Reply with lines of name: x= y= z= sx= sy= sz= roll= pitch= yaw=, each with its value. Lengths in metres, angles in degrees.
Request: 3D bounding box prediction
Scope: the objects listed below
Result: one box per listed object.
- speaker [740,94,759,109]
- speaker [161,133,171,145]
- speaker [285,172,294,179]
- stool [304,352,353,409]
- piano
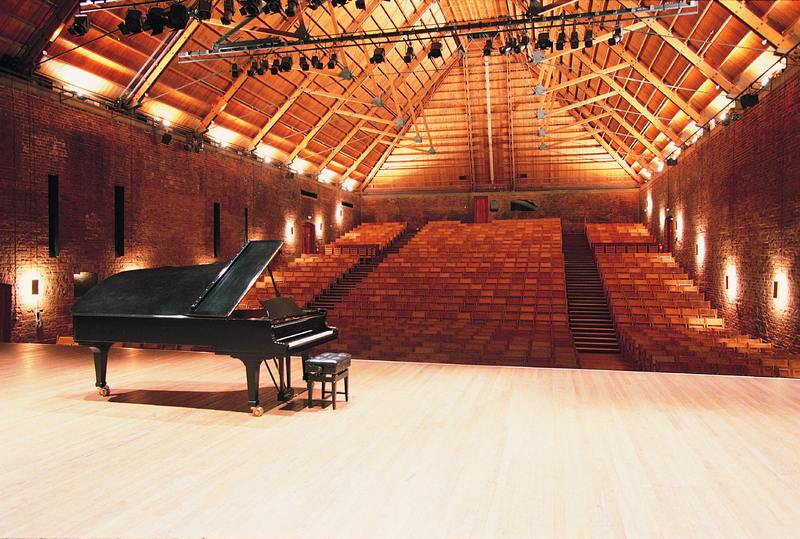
speaker: x=7.396 y=-3.630 z=11.411 sx=0.292 sy=0.291 sz=0.452 roll=2 pitch=11 yaw=17
speaker: x=-6.255 y=-3.558 z=14.501 sx=0.256 sy=0.241 sz=0.433 roll=10 pitch=12 yaw=-14
speaker: x=-4.050 y=-3.550 z=20.162 sx=0.096 sy=0.262 sz=0.457 roll=3 pitch=11 yaw=21
stool: x=-0.793 y=1.300 z=6.856 sx=0.558 sy=0.819 sz=0.830 roll=-4 pitch=-3 yaw=15
piano: x=-2.378 y=0.635 z=7.536 sx=3.400 sy=2.212 sz=1.825 roll=0 pitch=2 yaw=13
